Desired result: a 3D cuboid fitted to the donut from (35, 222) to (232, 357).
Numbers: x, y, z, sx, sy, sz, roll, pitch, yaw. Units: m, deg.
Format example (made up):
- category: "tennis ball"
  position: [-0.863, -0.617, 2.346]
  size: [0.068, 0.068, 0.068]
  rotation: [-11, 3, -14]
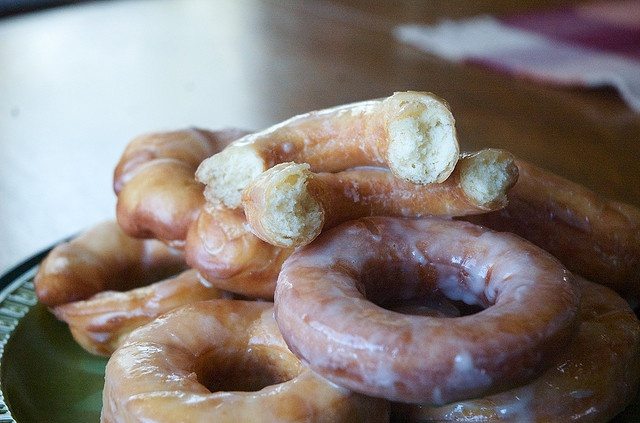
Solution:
- category: "donut"
  position: [-0.398, 0.133, 1.399]
  size: [0.302, 0.118, 0.300]
  rotation: [-1, 22, -30]
